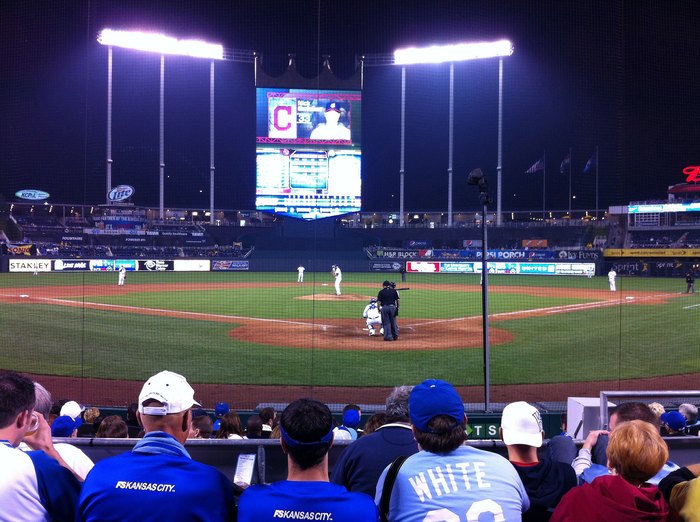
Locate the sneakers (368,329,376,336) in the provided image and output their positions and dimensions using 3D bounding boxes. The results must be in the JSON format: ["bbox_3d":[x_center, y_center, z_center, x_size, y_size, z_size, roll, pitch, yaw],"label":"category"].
[{"bbox_3d":[1.136,3.594,57.540,0.188,0.299,0.304,-5,9,-44],"label":"sneakers"}]
